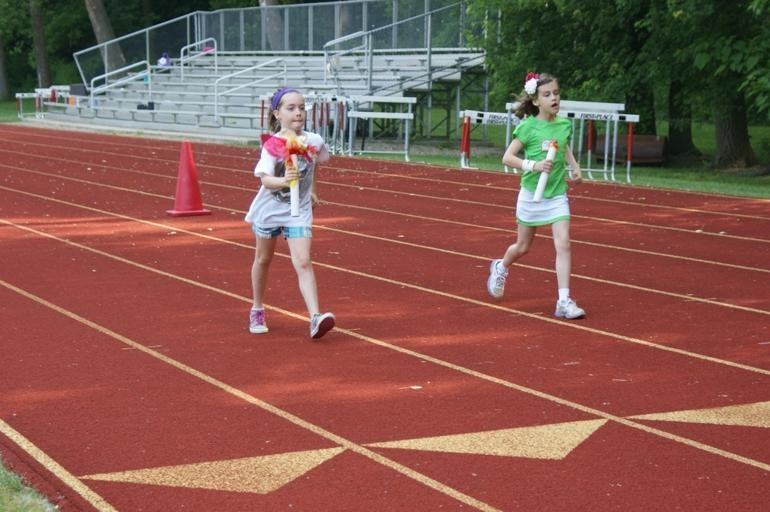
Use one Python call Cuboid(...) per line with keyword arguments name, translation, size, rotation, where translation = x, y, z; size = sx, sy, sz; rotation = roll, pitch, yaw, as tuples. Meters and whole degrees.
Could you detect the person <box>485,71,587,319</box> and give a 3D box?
Cuboid(name="person", translation=(1.506, -0.623, 8.212), size=(0.937, 2.245, 1.308), rotation=(2, 15, 6))
